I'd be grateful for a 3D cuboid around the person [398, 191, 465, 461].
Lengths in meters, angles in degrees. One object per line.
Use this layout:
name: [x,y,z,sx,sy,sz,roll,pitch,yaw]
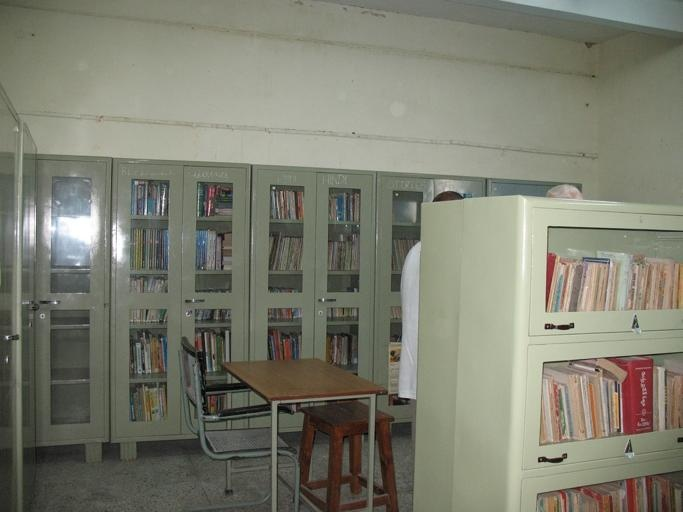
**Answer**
person: [0.606,0.509,4.674,0.343,1.964,0.991,1,6,6]
